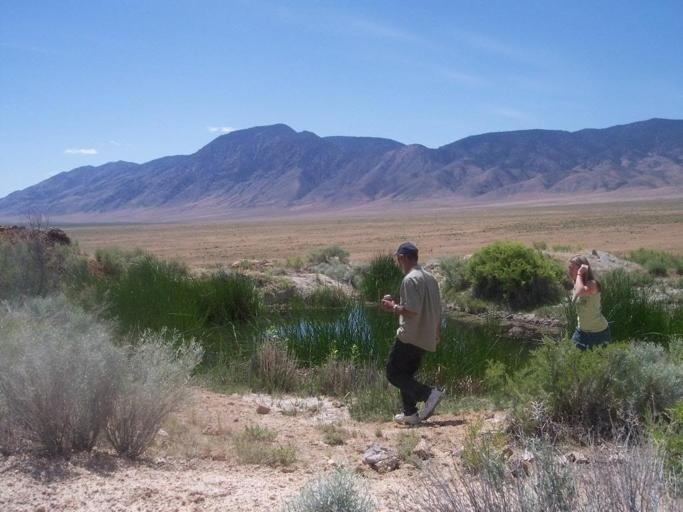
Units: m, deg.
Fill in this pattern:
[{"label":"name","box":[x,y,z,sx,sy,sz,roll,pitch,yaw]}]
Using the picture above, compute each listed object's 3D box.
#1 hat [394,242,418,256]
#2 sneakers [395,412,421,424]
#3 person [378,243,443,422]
[{"label":"hat","box":[0.819,-0.090,8.502,0.197,0.140,0.154,7,8,37]},{"label":"sneakers","box":[0.855,2.047,8.597,0.311,0.176,0.135,5,-2,15]},{"label":"person","box":[0.905,0.992,8.448,0.748,2.309,0.567,2,2,9]}]
